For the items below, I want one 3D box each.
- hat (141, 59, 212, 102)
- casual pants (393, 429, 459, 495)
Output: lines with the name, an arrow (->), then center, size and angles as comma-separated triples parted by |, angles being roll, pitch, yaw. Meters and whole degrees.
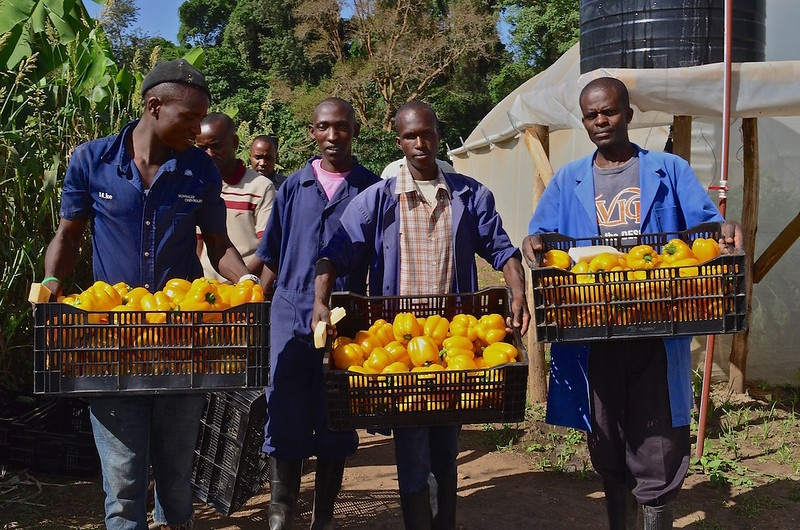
hat -> -1.510, -1.271, 5.505 | 0.436, 0.269, 0.239 | -3, 1, -11
casual pants -> 0.171, 1.305, 5.764 | 0.277, 0.422, 0.626 | -2, 1, 35
